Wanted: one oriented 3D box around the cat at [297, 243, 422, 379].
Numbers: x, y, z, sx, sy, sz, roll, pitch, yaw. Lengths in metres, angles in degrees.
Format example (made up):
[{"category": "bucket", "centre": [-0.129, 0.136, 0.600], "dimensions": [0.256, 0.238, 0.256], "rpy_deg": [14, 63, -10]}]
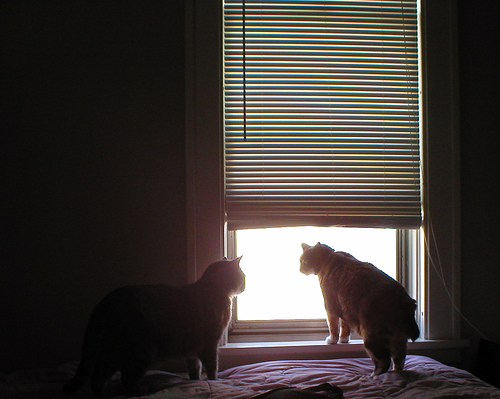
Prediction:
[{"category": "cat", "centre": [0.525, 0.551, 2.720], "dimensions": [0.243, 0.506, 0.819], "rpy_deg": [-11, 23, -32]}]
